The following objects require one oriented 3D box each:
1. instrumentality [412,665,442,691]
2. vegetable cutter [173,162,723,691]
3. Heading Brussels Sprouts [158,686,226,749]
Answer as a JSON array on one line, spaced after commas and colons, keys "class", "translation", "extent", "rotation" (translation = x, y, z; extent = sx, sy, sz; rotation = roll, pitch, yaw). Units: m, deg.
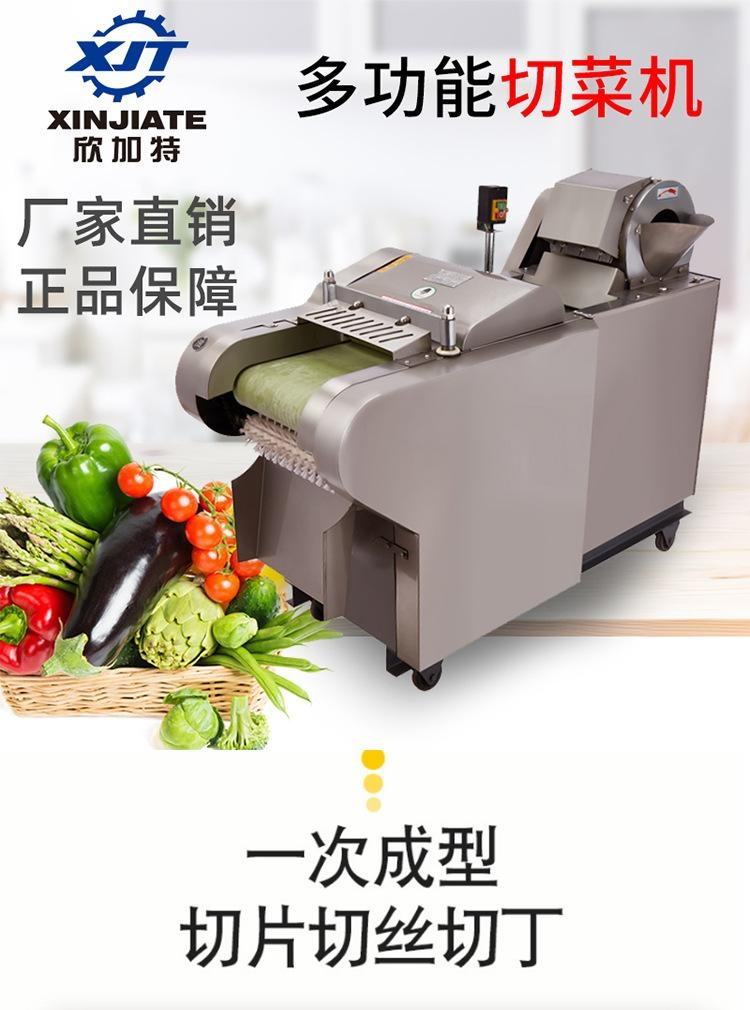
[{"class": "instrumentality", "translation": [0.071, 0.230, 1.225], "extent": [0.014, 0.044, 0.032], "rotation": [16, 15, 34]}, {"class": "vegetable cutter", "translation": [0.150, -0.152, 1.314], "extent": [0.741, 0.528, 0.375], "rotation": [-20, 33, -30]}, {"class": "Heading Brussels Sprouts", "translation": [-0.209, 0.247, 1.020], "extent": [0.065, 0.076, 0.072], "rotation": [2, 44, 5]}]
